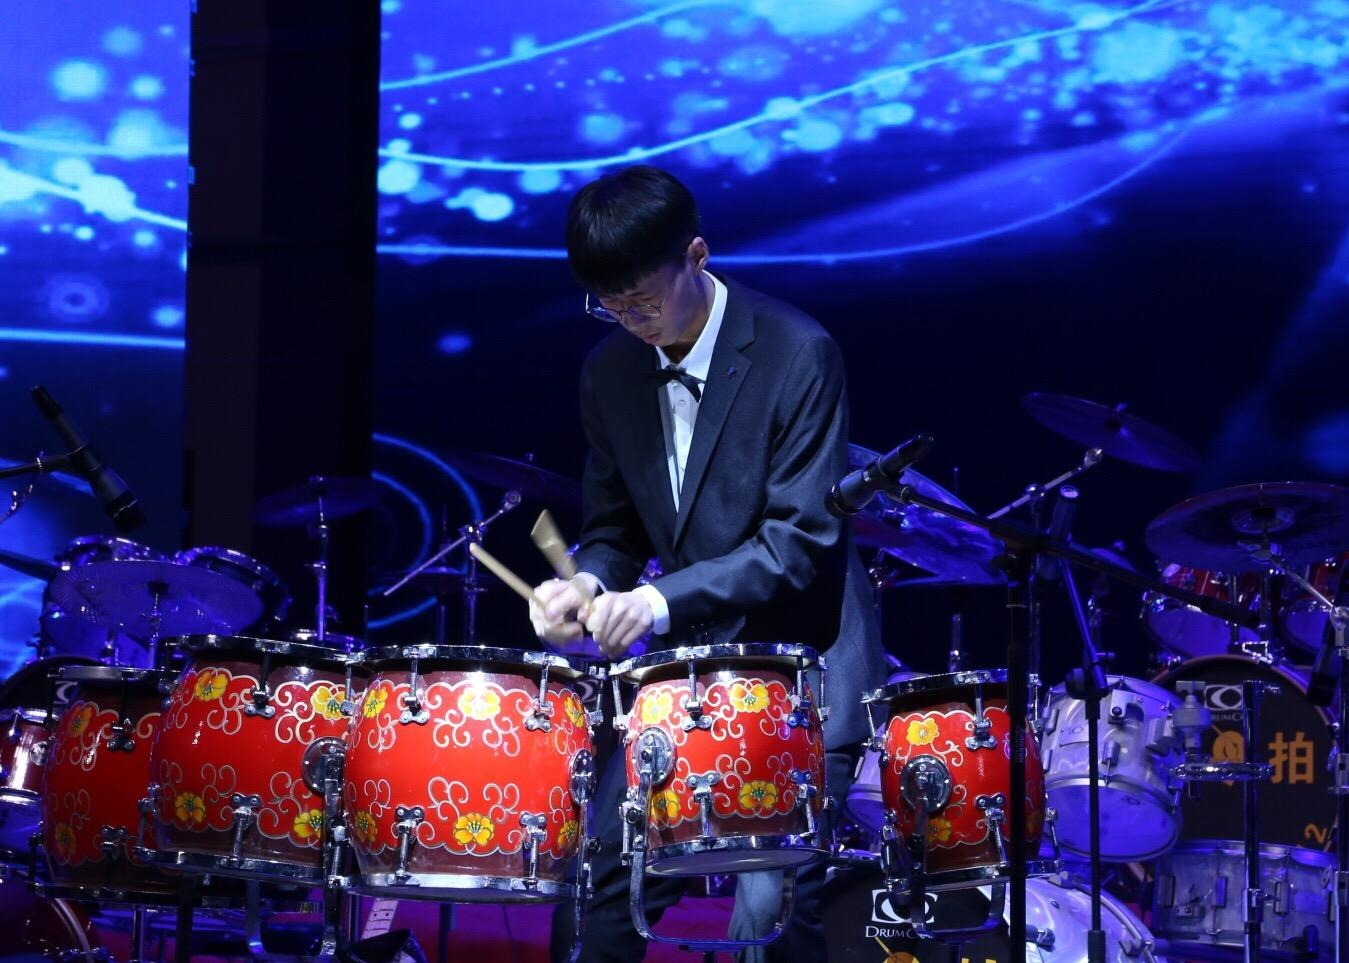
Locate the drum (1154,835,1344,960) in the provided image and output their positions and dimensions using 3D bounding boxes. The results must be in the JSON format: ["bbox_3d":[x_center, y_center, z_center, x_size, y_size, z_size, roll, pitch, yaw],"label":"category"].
[{"bbox_3d":[2.231,1.661,5.552,0.562,0.192,0.525,6,-10,1],"label":"drum"}]

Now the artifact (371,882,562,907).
[{"bbox_3d":[-0.528,1.050,3.478,0.475,0.063,0.259,2,-12,-8],"label":"artifact"}]

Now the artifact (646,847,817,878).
[{"bbox_3d":[0.143,0.989,3.531,0.436,0.092,0.287,1,-12,-1],"label":"artifact"}]

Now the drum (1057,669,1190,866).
[{"bbox_3d":[1.681,1.119,5.349,0.547,0.705,0.500,1,-12,0],"label":"drum"}]

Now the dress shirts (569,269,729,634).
[{"bbox_3d":[0.042,-0.089,3.821,0.637,0.797,0.208,2,-3,38],"label":"dress shirts"}]
